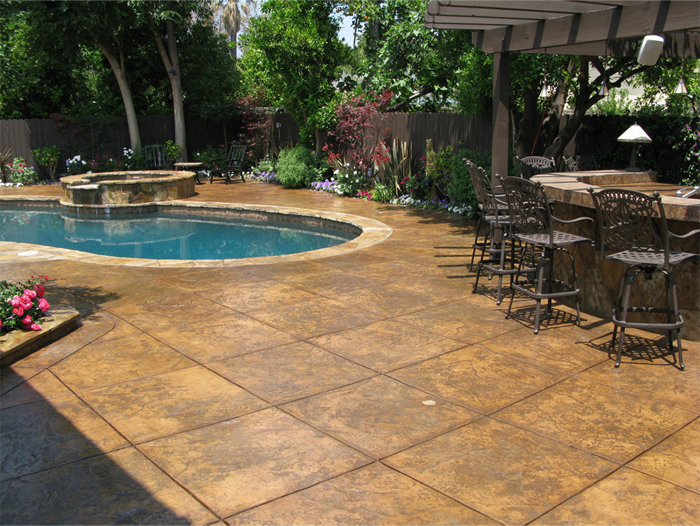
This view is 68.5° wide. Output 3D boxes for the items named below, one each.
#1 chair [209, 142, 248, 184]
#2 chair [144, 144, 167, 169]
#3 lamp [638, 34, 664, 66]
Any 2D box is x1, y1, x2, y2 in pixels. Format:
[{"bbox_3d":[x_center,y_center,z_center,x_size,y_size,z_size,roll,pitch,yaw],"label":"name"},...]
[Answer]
[{"bbox_3d":[-4.705,-3.838,19.822,1.528,1.573,1.411,-3,16,-12],"label":"chair"},{"bbox_3d":[-8.434,-4.665,22.287,0.900,0.966,1.460,-7,15,-21],"label":"chair"},{"bbox_3d":[3.105,-2.213,5.320,0.185,0.294,0.307,7,17,30],"label":"lamp"}]
